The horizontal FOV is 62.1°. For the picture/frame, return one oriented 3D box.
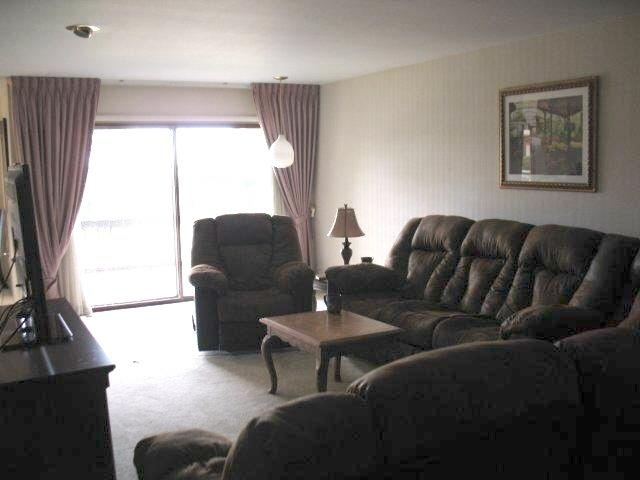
[{"bbox_3d":[1.893,-0.882,4.343,0.045,1.011,1.055,-3,4,-31],"label":"picture/frame"}]

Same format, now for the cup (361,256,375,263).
[{"bbox_3d":[0.460,0.192,5.203,0.086,0.058,0.069,2,-4,-31],"label":"cup"}]

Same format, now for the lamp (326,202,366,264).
[{"bbox_3d":[0.269,-0.015,5.445,0.380,0.671,0.381,-9,13,-38],"label":"lamp"}]
